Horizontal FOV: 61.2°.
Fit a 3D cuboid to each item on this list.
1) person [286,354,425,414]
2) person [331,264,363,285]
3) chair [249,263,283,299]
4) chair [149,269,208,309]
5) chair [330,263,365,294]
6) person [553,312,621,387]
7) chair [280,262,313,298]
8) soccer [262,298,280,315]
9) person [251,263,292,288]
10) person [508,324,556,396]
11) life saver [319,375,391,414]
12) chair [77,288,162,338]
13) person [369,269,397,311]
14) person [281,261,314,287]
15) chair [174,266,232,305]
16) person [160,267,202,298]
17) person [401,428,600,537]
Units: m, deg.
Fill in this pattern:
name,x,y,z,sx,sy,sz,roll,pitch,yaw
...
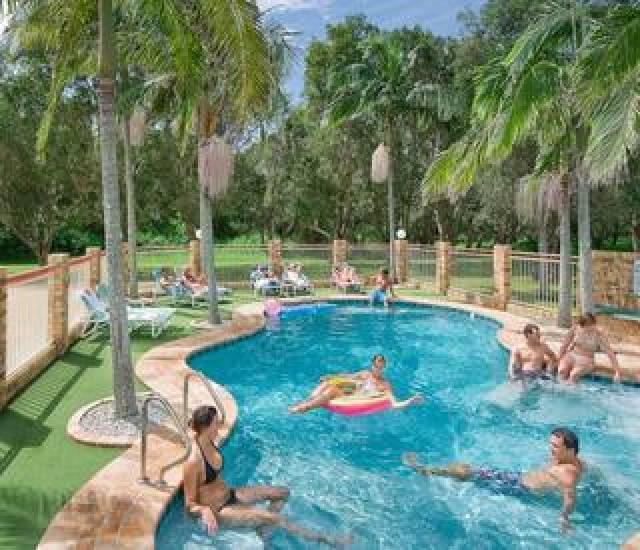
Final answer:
name,x,y,z,sx,sy,sz,roll,pitch,yaw
person,0.434,1.921,8.771,1.398,0.739,1.123,-2,7,-16
person,0.973,-0.050,21.298,0.606,0.558,1.244,0,0,-13
chair,-2.067,0.190,20.694,0.813,1.011,1.490,-1,6,-22
chair,-4.533,0.408,17.502,1.703,1.110,1.118,4,6,31
chair,1.046,0.132,21.377,0.723,0.870,1.482,0,1,-14
person,5.240,1.480,10.546,0.765,1.174,0.768,21,24,40
chair,-0.966,0.185,20.595,0.771,0.882,1.381,-1,6,-23
soccer,-1.435,0.980,16.318,0.468,0.513,0.841,0,2,-10
person,-2.008,0.071,20.636,0.836,0.820,1.353,1,0,-27
person,4.045,1.503,10.451,0.987,1.059,0.646,-1,2,-28
life saver,0.538,1.978,8.663,0.648,0.252,0.623,0,4,33
chair,-4.592,0.900,12.631,1.744,1.293,1.110,2,10,-6
person,2.142,0.414,18.401,0.794,1.294,1.849,0,2,8
person,-0.925,0.003,20.514,0.655,0.702,1.236,-1,15,-25
chair,-4.116,0.451,17.366,1.334,1.040,1.474,2,6,17
person,-4.434,0.273,17.204,1.133,0.648,0.845,4,4,7
person,2.501,2.463,6.891,1.215,0.611,1.345,1,-1,10
